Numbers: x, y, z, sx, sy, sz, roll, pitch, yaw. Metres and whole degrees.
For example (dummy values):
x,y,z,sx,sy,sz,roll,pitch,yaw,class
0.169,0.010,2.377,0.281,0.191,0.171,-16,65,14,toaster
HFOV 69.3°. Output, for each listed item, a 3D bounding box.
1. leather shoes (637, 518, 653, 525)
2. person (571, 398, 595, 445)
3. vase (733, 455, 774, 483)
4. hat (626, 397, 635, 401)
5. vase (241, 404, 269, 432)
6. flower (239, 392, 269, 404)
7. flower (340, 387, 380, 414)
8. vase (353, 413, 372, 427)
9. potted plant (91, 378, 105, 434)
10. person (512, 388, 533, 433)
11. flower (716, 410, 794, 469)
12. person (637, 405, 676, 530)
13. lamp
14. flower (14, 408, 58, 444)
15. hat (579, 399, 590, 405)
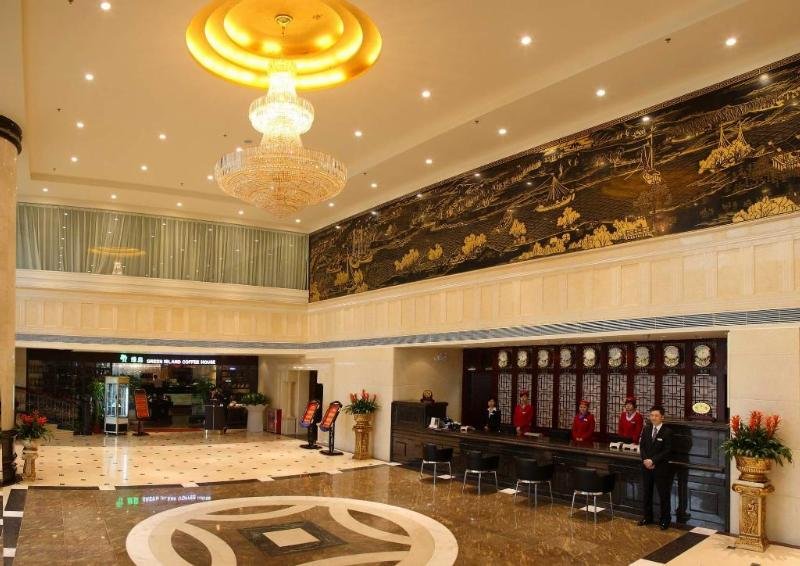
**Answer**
x,y,z,sx,sy,sz,roll,pitch,yaw,class
4.921,4.776,11.582,0.369,0.139,0.117,6,-12,-8,leather shoes
4.449,3.408,14.067,0.531,1.019,1.841,-1,-5,18,person
6.425,3.281,10.455,0.582,0.323,0.559,5,-7,-34,vase
5.503,2.788,13.793,0.200,0.072,0.190,0,-2,-20,hat
-6.101,5.649,24.323,1.144,1.135,1.169,2,-8,-9,vase
-6.041,4.834,24.069,0.703,0.371,0.696,-1,-8,15,flower
-1.178,3.768,18.213,0.999,0.603,0.951,0,-4,-7,flower
-1.123,4.257,18.041,0.520,0.288,0.472,3,-8,-18,vase
-11.951,4.817,22.825,0.447,2.079,1.258,3,-5,-28,potted plant
3.308,3.498,15.613,0.507,1.093,1.468,0,-5,12,person
6.430,2.813,10.503,1.062,0.687,1.025,1,-3,-29,flower
5.148,3.663,11.698,0.626,2.308,0.714,-1,-4,23,person
-2.289,-2.874,11.322,2.354,2.871,0.977,1,-4,-7,lamp
-9.022,3.508,14.105,0.643,0.798,1.129,4,-6,-33,flower
4.629,2.990,14.501,0.256,0.087,0.245,-3,-4,35,hat
